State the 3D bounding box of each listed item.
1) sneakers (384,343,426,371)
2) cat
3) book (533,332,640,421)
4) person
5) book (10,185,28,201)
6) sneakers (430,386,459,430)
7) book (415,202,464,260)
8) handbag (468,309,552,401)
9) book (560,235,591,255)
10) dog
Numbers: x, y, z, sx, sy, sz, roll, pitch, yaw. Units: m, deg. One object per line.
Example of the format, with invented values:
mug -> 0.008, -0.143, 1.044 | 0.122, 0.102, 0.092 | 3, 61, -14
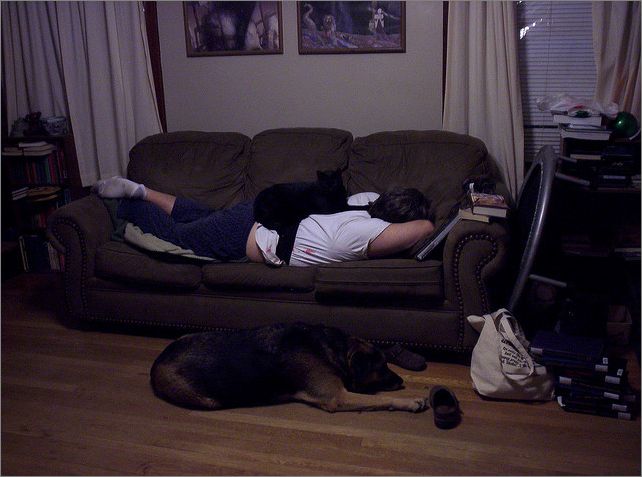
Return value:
sneakers -> 0.484, 0.682, 3.028 | 0.227, 0.091, 0.112 | 12, 33, 32
cat -> -0.118, -0.251, 3.368 | 0.566, 0.282, 0.317 | -11, 18, 2
book -> 1.365, 0.715, 2.637 | 0.420, 0.157, 0.429 | 6, 27, 18
person -> -0.303, -0.110, 3.377 | 1.661, 0.588, 0.861 | 4, 5, 5
book -> -2.395, -0.353, 4.119 | 0.123, 0.085, 0.109 | -12, 24, -27
sneakers -> 0.628, 0.854, 2.627 | 0.103, 0.084, 0.210 | -6, 25, 6
book -> 0.661, -0.021, 2.971 | 0.257, 0.294, 0.150 | 0, 21, 2
handbag -> 0.987, 0.638, 2.764 | 0.392, 0.386, 0.225 | 6, -14, -20
book -> 1.599, 0.023, 3.259 | 0.136, 0.033, 0.128 | 12, 67, 15
dog -> -0.185, 0.594, 2.858 | 1.501, 0.495, 0.549 | 1, 4, 0
